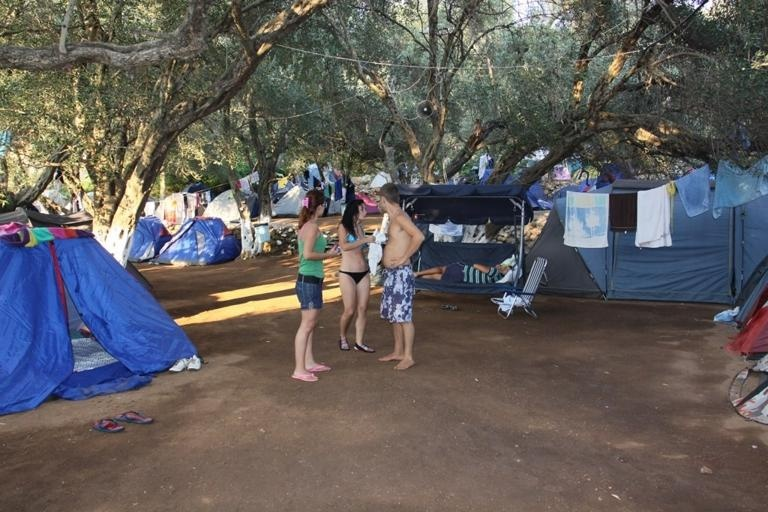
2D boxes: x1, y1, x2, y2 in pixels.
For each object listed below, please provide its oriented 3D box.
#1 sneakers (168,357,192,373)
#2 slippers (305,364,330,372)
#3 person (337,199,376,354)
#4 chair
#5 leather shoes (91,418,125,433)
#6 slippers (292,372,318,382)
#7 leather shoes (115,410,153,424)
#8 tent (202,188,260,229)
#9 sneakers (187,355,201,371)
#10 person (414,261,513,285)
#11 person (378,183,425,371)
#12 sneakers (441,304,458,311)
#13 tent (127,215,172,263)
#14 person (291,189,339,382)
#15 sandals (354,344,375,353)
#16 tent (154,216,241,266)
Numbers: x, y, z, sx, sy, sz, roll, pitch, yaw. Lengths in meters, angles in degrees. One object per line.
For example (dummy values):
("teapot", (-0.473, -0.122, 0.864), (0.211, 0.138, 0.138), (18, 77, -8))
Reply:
("sneakers", (-2.865, 1.528, 8.109), (0.117, 0.130, 0.335), (-3, -5, 39))
("slippers", (-0.915, 1.542, 8.011), (0.257, 0.070, 0.111), (-1, -2, -2))
("person", (-0.437, 0.312, 8.539), (0.525, 2.316, 1.123), (-1, 8, -4))
("chair", (2.759, 0.580, 11.578), (0.849, 1.098, 1.464), (3, 8, 23))
("leather shoes", (-3.103, 1.903, 6.522), (0.250, 0.090, 0.171), (3, 2, 12))
("slippers", (-1.052, 1.612, 7.736), (0.217, 0.067, 0.144), (-1, -3, 20))
("leather shoes", (-2.884, 1.861, 6.719), (0.407, 0.160, 0.166), (1, -4, 5))
("tent", (-8.588, -2.517, 30.654), (3.236, 1.470, 3.277), (3, 16, 20))
("sneakers", (-2.692, 1.504, 8.166), (0.142, 0.164, 0.416), (0, -9, -14))
("person", (1.711, 0.350, 12.111), (1.070, 0.368, 0.858), (6, 6, 24))
("person", (0.226, 0.261, 8.200), (0.600, 2.574, 0.703), (-1, 8, -1))
("sneakers", (1.351, 1.046, 11.928), (0.195, 0.095, 0.148), (4, 1, 41))
("tent", (-7.568, -0.491, 18.617), (1.154, 1.500, 0.609), (-4, -34, 16))
("person", (-0.991, 0.366, 7.842), (0.582, 2.525, 0.766), (-1, 8, -6))
("sandals", (-0.311, 1.383, 8.808), (0.299, 0.091, 0.119), (3, 10, 29))
("tent", (-6.186, -0.455, 19.306), (1.881, 0.979, 1.909), (0, 2, 6))
